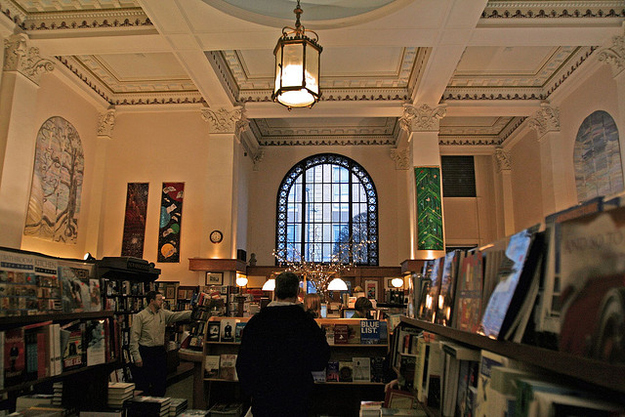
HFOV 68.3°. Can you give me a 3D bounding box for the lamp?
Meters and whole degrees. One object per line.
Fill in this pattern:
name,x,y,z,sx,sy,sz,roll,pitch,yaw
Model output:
lamp,-0.205,-2.204,6.330,0.649,1.543,0.529,1,-11,-6
